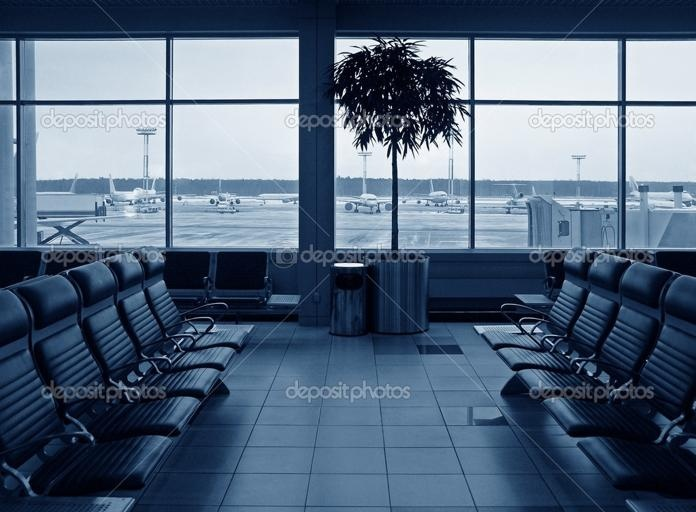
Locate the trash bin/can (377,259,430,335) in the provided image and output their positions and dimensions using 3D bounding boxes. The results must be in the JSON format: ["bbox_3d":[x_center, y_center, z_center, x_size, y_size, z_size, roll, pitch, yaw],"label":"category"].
[{"bbox_3d":[0.634,0.478,6.514,0.801,0.854,0.816,0,1,1],"label":"trash bin/can"}]

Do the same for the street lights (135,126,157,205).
[{"bbox_3d":[-2.689,-1.213,7.494,0.271,0.949,0.154,3,11,19],"label":"street lights"}]

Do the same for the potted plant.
[{"bbox_3d":[0.564,-0.803,6.551,1.541,3.378,0.635,-1,10,-2],"label":"potted plant"}]
